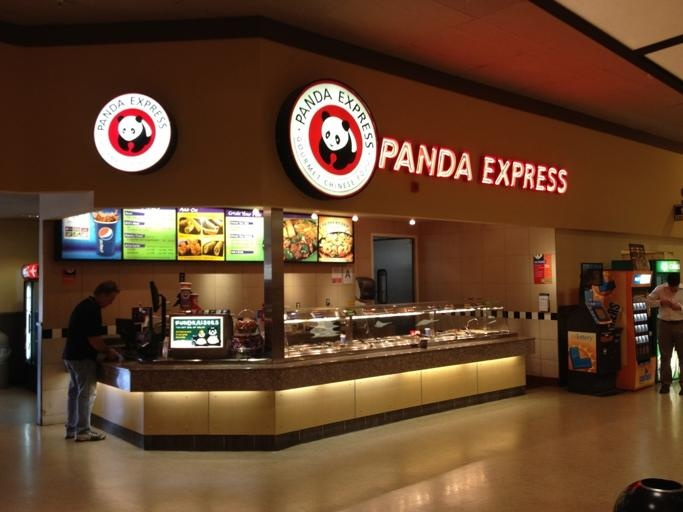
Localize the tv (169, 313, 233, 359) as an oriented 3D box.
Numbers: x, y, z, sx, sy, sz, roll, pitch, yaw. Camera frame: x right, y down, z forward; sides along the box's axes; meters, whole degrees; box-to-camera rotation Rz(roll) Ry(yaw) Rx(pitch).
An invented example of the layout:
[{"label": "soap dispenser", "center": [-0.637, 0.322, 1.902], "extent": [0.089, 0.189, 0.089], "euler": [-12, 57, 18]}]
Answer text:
[{"label": "tv", "center": [-1.780, 1.001, 7.418], "extent": [0.866, 0.676, 0.499], "euler": [0, 1, 1]}]

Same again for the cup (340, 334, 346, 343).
[{"label": "cup", "center": [0.033, 1.113, 7.957], "extent": [0.089, 0.146, 0.097], "euler": [0, 1, 0]}]

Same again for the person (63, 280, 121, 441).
[{"label": "person", "center": [-3.302, 1.373, 7.801], "extent": [0.683, 2.053, 0.583], "euler": [-2, 2, -26]}]

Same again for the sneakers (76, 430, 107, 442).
[{"label": "sneakers", "center": [-3.237, 2.329, 7.660], "extent": [0.371, 0.161, 0.133], "euler": [-1, 4, -24]}]

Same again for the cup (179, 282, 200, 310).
[{"label": "cup", "center": [-2.104, 0.548, 8.078], "extent": [0.236, 0.348, 0.340], "euler": [-2, 3, -23]}]

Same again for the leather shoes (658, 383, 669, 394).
[{"label": "leather shoes", "center": [5.211, 2.134, 9.508], "extent": [0.136, 0.139, 0.140], "euler": [2, -7, -16]}]
